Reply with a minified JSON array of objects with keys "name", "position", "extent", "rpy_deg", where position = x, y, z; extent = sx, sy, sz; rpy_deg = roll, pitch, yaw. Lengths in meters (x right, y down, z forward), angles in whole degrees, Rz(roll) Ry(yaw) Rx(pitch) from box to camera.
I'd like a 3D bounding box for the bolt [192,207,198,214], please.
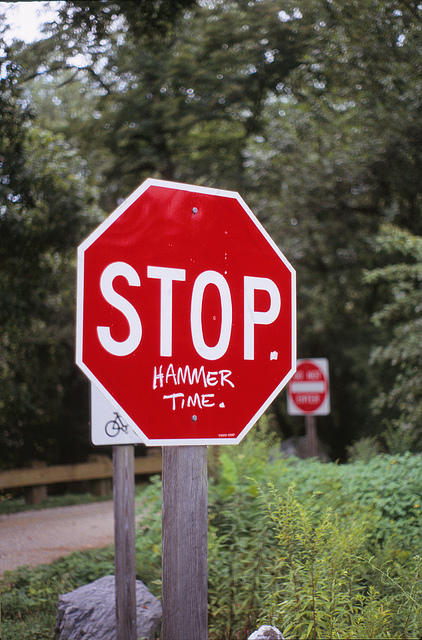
[{"name":"bolt","position":[-0.068,-0.440,3.600],"extent":[0.024,0.024,0.005],"rpy_deg":[-8,-6,-10]}]
